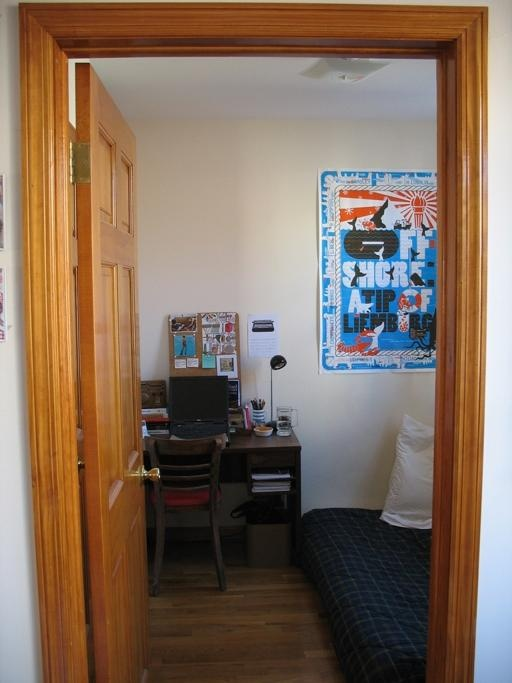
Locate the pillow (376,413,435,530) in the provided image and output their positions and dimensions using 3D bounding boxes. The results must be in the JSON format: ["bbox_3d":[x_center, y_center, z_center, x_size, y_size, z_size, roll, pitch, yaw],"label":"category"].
[{"bbox_3d":[0.864,0.735,3.342,0.434,0.501,0.146,13,-3,42],"label":"pillow"}]

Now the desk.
[{"bbox_3d":[-0.166,0.862,3.373,0.761,0.620,0.572,-2,-4,1],"label":"desk"}]

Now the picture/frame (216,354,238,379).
[{"bbox_3d":[-0.169,0.146,3.540,0.140,0.162,0.014,0,-1,-4],"label":"picture/frame"}]

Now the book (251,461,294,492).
[{"bbox_3d":[0.087,0.748,3.291,0.227,0.121,0.186,0,5,1],"label":"book"}]

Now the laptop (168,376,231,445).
[{"bbox_3d":[-0.309,0.368,3.367,0.336,0.329,0.252,-2,20,-11],"label":"laptop"}]

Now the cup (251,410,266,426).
[{"bbox_3d":[0.015,0.438,3.480,0.074,0.079,0.075,1,1,0],"label":"cup"}]

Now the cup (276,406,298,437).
[{"bbox_3d":[0.172,0.457,3.483,0.157,0.171,0.100,-1,5,-6],"label":"cup"}]

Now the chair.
[{"bbox_3d":[-0.356,0.833,3.110,0.389,0.803,0.505,-1,5,-7],"label":"chair"}]
